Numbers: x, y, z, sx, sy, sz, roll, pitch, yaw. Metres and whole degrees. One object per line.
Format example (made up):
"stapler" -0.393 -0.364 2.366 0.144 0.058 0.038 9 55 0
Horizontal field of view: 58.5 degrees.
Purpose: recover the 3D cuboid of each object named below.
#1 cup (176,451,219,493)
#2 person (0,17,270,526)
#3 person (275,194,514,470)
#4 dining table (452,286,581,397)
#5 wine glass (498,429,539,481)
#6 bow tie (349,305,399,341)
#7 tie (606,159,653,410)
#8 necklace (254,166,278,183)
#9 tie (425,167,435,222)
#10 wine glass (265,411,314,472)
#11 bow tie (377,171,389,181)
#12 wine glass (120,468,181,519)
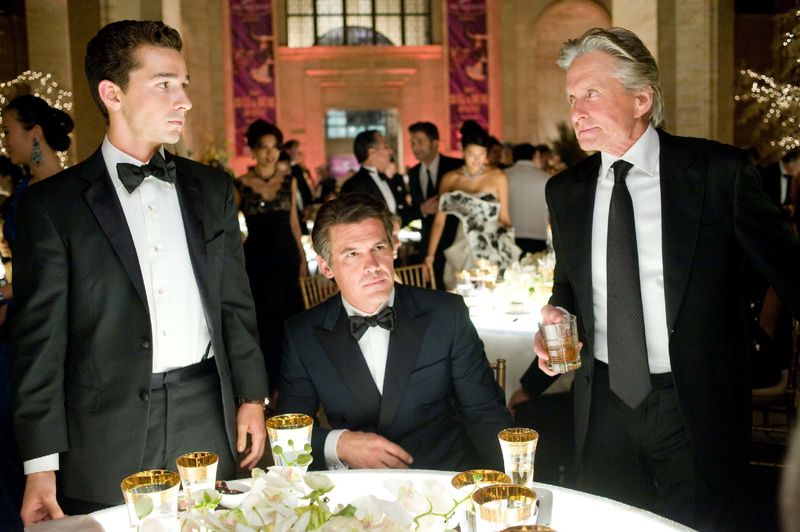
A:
"cup" -0.597 0.609 2.132 0.113 0.099 0.123 -1 -5 0
"person" -0.986 0.000 2.660 0.903 1.803 0.356 -6 9 -25
"person" -0.042 0.287 2.947 0.966 1.171 0.579 -1 8 8
"dining table" 0.659 0.410 4.296 0.662 0.252 0.645 -2 4 -32
"wine glass" 0.334 0.565 2.084 0.090 0.174 0.136 5 11 44
"bow tie" -0.116 0.234 3.002 0.195 0.140 0.115 -2 8 0
"tie" 0.853 0.064 2.683 0.148 0.923 0.237 0 8 16
"necklace" -1.153 -0.802 6.179 0.228 0.194 0.119 -2 8 -10
"tie" 0.287 -0.686 6.791 0.068 0.497 0.036 1 1 8
"wine glass" -0.335 0.522 2.081 0.169 0.181 0.171 -1 -3 -4
"bow tie" -0.155 -0.820 6.503 0.018 0.074 0.079 -30 -14 19
"wine glass" -0.664 0.641 1.930 0.140 0.146 0.149 -6 8 -25
